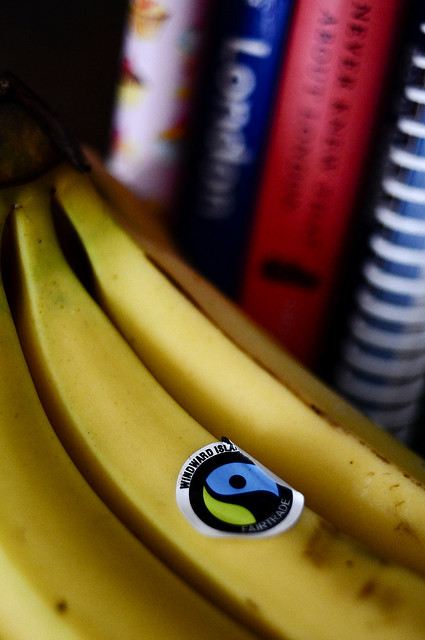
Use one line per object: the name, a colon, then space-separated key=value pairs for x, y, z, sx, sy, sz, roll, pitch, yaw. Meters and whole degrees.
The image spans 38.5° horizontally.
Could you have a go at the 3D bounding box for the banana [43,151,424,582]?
banana: x=0.026 y=0.023 z=0.510 sx=0.402 sy=0.083 sz=0.137 roll=50 pitch=-32 yaw=11

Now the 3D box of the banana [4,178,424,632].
banana: x=-0.053 y=-0.017 z=0.536 sx=0.126 sy=0.199 sz=0.578 roll=-17 pitch=57 yaw=-25
